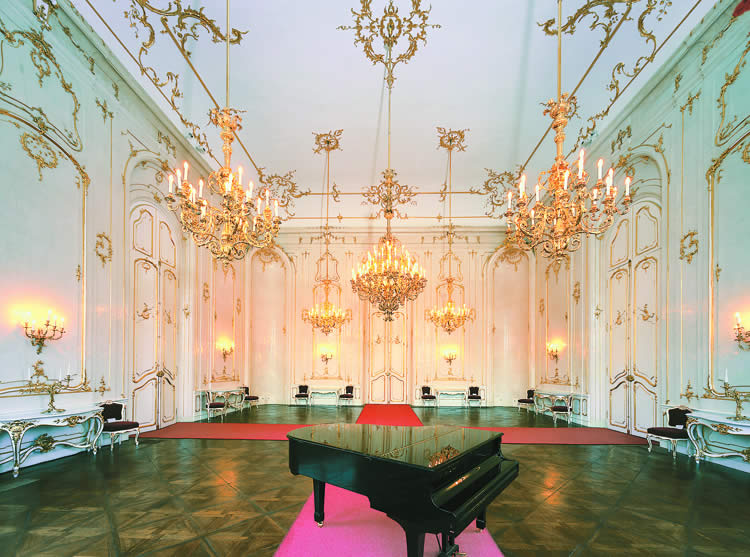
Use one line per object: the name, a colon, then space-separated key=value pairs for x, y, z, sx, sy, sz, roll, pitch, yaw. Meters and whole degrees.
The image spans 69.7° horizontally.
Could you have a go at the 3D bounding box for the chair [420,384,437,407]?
chair: x=1.442 y=3.211 z=14.836 sx=0.400 sy=0.619 sz=0.495 roll=1 pitch=-26 yaw=-1

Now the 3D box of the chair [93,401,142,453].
chair: x=-4.741 y=2.701 z=9.925 sx=0.537 sy=0.878 sz=0.644 roll=-2 pitch=-4 yaw=8

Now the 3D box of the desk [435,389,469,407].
desk: x=2.122 y=3.309 z=14.792 sx=0.861 sy=0.416 sz=0.183 roll=-1 pitch=-3 yaw=6

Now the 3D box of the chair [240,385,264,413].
chair: x=-3.352 y=3.229 z=14.501 sx=0.507 sy=0.776 sz=0.537 roll=-5 pitch=-9 yaw=23

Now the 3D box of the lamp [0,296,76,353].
lamp: x=-5.416 y=0.791 z=8.661 sx=0.232 sy=0.870 sz=0.935 roll=-1 pitch=-4 yaw=27

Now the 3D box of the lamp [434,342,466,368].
lamp: x=2.067 y=2.104 z=15.187 sx=0.872 sy=0.960 sz=0.532 roll=2 pitch=-20 yaw=0

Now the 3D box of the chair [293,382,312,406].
chair: x=-1.925 y=3.233 z=14.906 sx=0.423 sy=0.652 sz=0.521 roll=-1 pitch=-29 yaw=0

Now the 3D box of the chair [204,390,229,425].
chair: x=-3.807 y=3.023 z=12.977 sx=0.488 sy=0.630 sz=1.176 roll=1 pitch=-4 yaw=-16

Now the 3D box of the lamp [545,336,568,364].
lamp: x=4.539 y=1.792 z=13.395 sx=0.191 sy=0.629 sz=0.625 roll=7 pitch=-12 yaw=-5

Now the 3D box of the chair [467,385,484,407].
chair: x=2.741 y=3.262 z=14.778 sx=0.428 sy=0.654 sz=0.534 roll=-1 pitch=-37 yaw=8

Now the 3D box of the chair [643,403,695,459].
chair: x=5.340 y=2.745 z=9.701 sx=0.617 sy=0.926 sz=0.612 roll=7 pitch=-6 yaw=-22

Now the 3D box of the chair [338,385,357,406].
chair: x=-0.771 y=3.219 z=14.764 sx=0.461 sy=0.528 sz=0.435 roll=0 pitch=-3 yaw=-2
